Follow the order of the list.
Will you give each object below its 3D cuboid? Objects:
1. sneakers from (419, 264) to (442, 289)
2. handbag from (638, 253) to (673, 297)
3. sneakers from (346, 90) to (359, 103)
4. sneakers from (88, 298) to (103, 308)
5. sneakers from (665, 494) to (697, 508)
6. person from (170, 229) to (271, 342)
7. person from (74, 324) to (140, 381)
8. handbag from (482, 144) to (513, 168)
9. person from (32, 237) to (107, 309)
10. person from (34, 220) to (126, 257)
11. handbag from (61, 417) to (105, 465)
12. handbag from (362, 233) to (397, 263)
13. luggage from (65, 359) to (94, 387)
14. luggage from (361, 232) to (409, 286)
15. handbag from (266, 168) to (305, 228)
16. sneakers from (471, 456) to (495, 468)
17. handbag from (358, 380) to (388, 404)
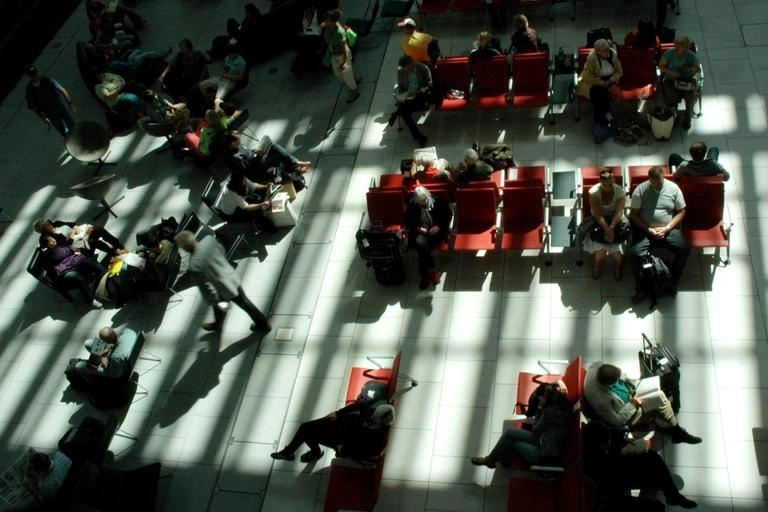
[{"bbox_3d":[0.806,0.370,11.319,0.226,0.201,0.484,26,72,13],"label":"sneakers"},{"bbox_3d":[4.247,0.330,10.372,0.324,0.593,0.412,-2,56,36],"label":"handbag"},{"bbox_3d":[-0.624,-3.356,13.991,0.132,0.318,0.163,-2,66,-43],"label":"sneakers"},{"bbox_3d":[-5.295,0.912,12.256,0.325,0.123,0.106,19,76,5],"label":"sneakers"},{"bbox_3d":[4.050,3.366,9.030,0.488,0.199,0.156,-8,36,13],"label":"sneakers"},{"bbox_3d":[-2.737,0.554,11.091,1.371,2.171,0.903,-3,40,9],"label":"person"},{"bbox_3d":[-4.539,1.705,11.222,1.017,1.031,0.794,19,56,-3],"label":"person"},{"bbox_3d":[2.079,-1.860,11.946,0.438,0.214,0.503,10,36,13],"label":"handbag"},{"bbox_3d":[-5.770,0.198,12.251,0.896,1.455,0.763,0,33,24],"label":"person"},{"bbox_3d":[-5.687,-0.282,12.432,1.573,0.665,0.574,-1,81,-33],"label":"person"},{"bbox_3d":[-4.711,2.921,10.444,0.555,0.431,0.674,0,49,12],"label":"handbag"},{"bbox_3d":[-0.017,-0.224,11.231,0.687,0.429,0.475,1,36,13],"label":"handbag"},{"bbox_3d":[-5.129,2.000,11.100,0.428,0.524,0.525,6,86,-8],"label":"luggage"},{"bbox_3d":[-0.033,0.051,11.393,0.671,0.976,0.559,-1,24,12],"label":"luggage"},{"bbox_3d":[-1.867,-0.956,12.789,0.764,0.927,1.285,-2,73,3],"label":"handbag"},{"bbox_3d":[1.459,3.017,9.645,0.398,0.110,0.147,3,83,33],"label":"sneakers"},{"bbox_3d":[-0.163,1.941,9.625,0.262,0.324,0.320,5,8,25],"label":"handbag"}]
